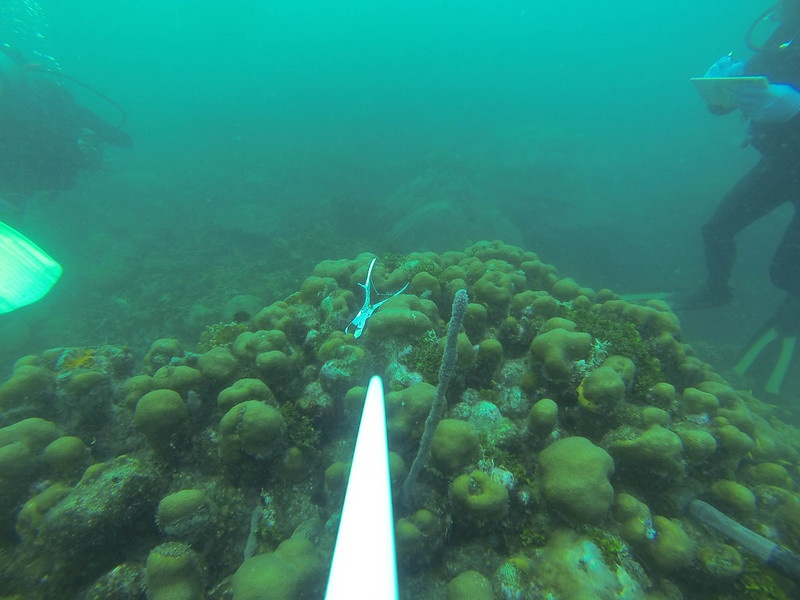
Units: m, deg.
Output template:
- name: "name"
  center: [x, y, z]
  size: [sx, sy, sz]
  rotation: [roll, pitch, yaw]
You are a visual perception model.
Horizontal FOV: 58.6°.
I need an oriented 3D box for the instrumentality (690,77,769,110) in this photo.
- name: "instrumentality"
  center: [5.625, -3.651, 12.329]
  size: [1.091, 0.581, 0.613]
  rotation: [-9, -48, 16]
